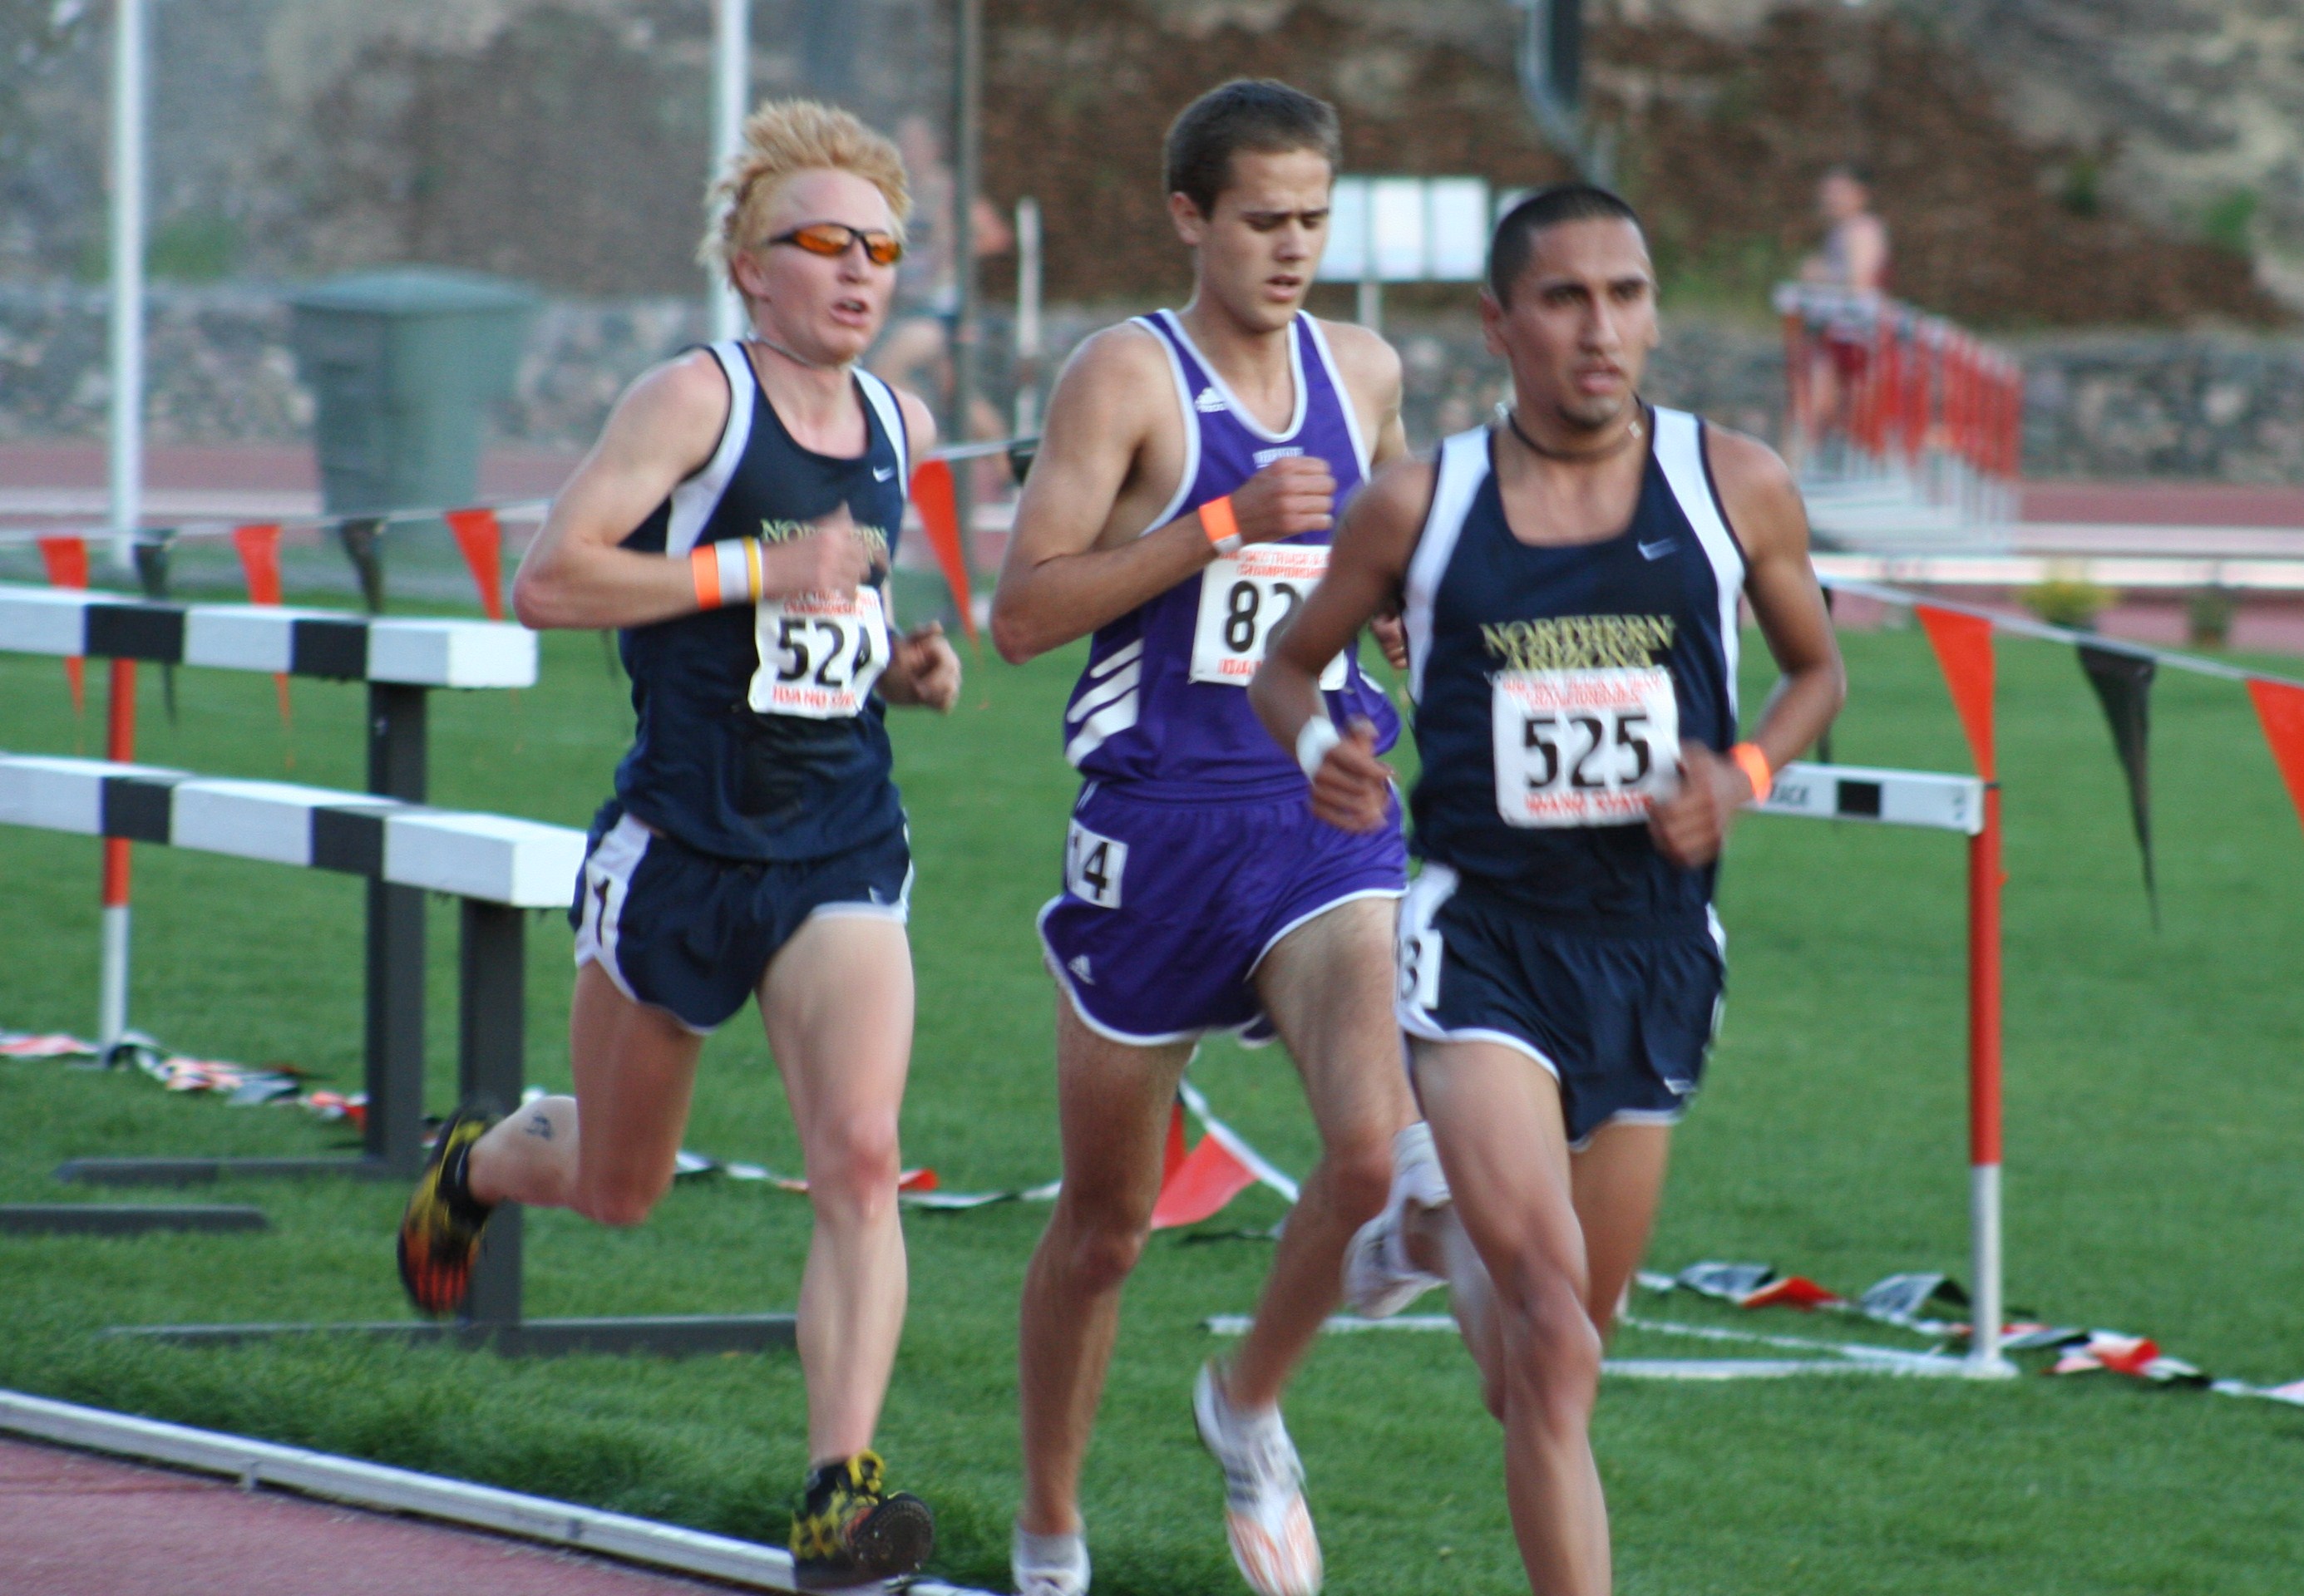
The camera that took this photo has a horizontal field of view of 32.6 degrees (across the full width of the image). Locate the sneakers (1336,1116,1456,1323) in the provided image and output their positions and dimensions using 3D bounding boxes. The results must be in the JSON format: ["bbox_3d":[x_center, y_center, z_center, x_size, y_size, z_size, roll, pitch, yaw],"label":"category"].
[{"bbox_3d":[0.519,0.876,7.928,0.199,0.439,0.154,8,-7,26],"label":"sneakers"}]

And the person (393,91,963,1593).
[{"bbox_3d":[-0.836,0.034,8.194,0.982,2.896,1.563,-7,16,-30],"label":"person"}]

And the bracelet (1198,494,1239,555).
[{"bbox_3d":[0.147,-0.577,8.130,0.080,0.113,0.108,-9,43,9],"label":"bracelet"}]

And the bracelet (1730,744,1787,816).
[{"bbox_3d":[1.174,-0.053,7.703,0.112,0.155,0.148,1,-3,0],"label":"bracelet"}]

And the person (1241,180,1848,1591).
[{"bbox_3d":[0.764,0.033,7.540,1.060,2.358,0.861,3,14,8],"label":"person"}]

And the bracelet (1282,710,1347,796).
[{"bbox_3d":[0.327,-0.098,7.827,0.107,0.129,0.101,7,42,6],"label":"bracelet"}]

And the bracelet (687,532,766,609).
[{"bbox_3d":[-0.858,-0.486,8.074,0.124,0.116,0.153,-10,-6,28],"label":"bracelet"}]
